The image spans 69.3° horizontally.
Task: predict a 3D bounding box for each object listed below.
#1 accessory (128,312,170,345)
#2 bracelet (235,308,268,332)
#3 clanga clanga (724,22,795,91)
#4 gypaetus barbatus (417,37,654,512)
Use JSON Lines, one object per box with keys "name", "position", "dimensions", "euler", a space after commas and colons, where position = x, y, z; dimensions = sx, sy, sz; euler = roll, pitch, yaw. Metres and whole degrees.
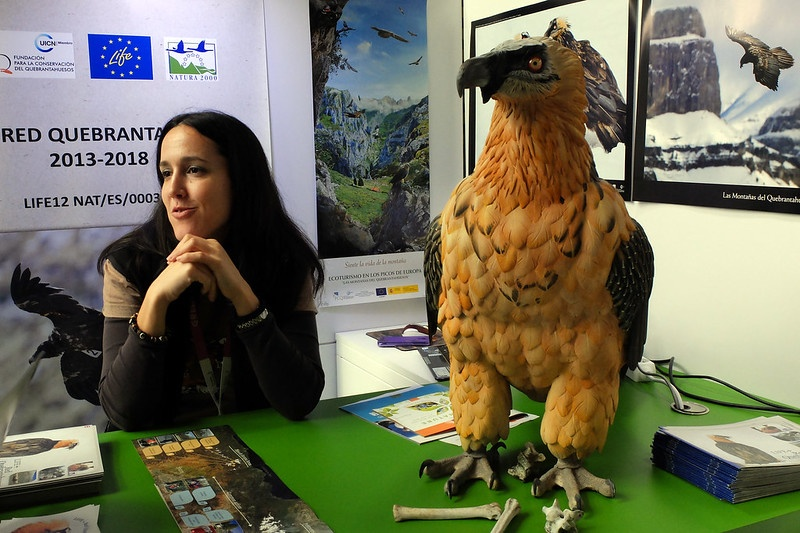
{"name": "accessory", "position": [-0.684, 0.180, 1.578], "dimensions": [0.072, 0.090, 0.027], "euler": [20, 48, 29]}
{"name": "bracelet", "position": [-0.409, 0.149, 1.595], "dimensions": [0.063, 0.023, 0.056], "euler": [-25, 5, 18]}
{"name": "clanga clanga", "position": [1.065, -0.622, 1.722], "dimensions": [0.013, 0.205, 0.186], "euler": [-8, 11, -32]}
{"name": "gypaetus barbatus", "position": [0.307, 0.010, 1.264], "dimensions": [0.465, 0.985, 0.243], "euler": [0, 9, 14]}
